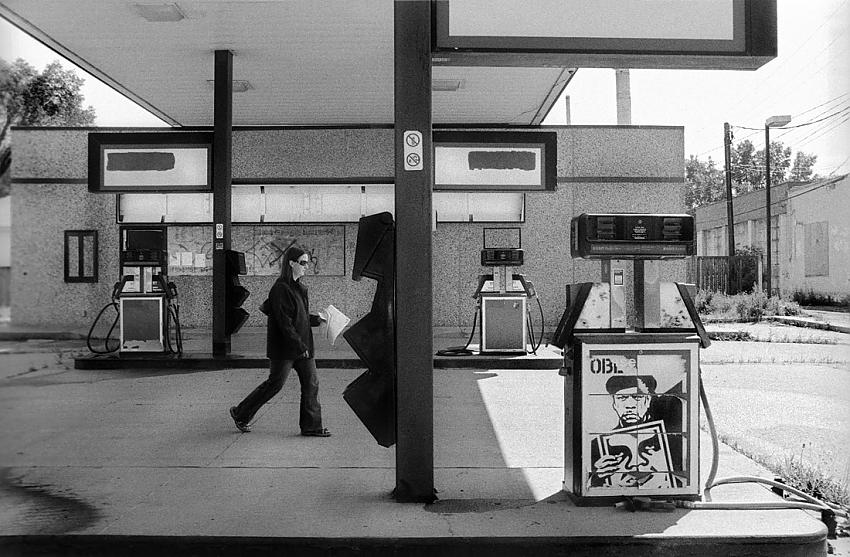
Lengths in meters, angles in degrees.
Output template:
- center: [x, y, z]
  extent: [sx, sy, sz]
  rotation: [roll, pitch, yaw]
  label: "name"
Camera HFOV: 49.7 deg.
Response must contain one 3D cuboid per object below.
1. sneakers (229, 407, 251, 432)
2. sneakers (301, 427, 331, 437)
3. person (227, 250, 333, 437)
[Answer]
- center: [-2.767, 2.058, 13.482]
  extent: [0.182, 0.150, 0.475]
  rotation: [22, 25, -47]
  label: "sneakers"
- center: [-1.621, 2.193, 13.332]
  extent: [0.381, 0.168, 0.167]
  rotation: [0, -4, -3]
  label: "sneakers"
- center: [-2.075, 0.932, 13.383]
  extent: [1.255, 2.672, 1.038]
  rotation: [-2, 14, -12]
  label: "person"
